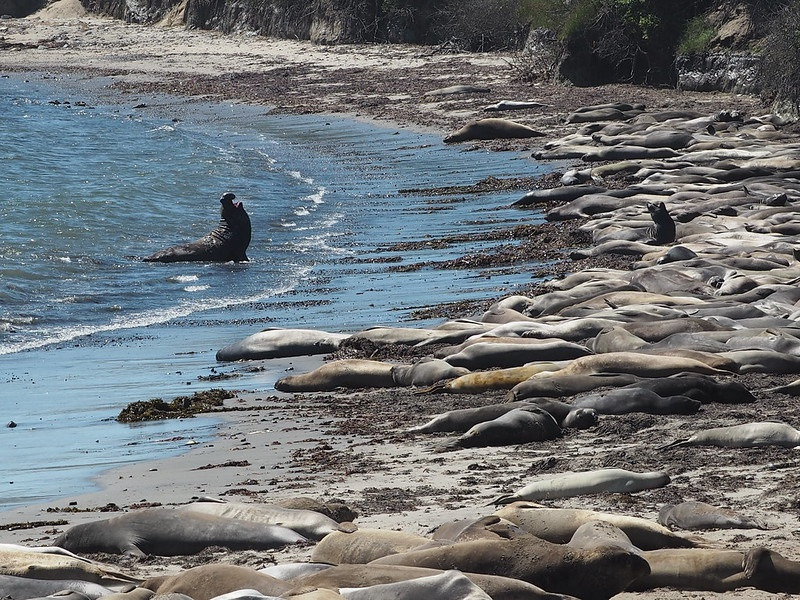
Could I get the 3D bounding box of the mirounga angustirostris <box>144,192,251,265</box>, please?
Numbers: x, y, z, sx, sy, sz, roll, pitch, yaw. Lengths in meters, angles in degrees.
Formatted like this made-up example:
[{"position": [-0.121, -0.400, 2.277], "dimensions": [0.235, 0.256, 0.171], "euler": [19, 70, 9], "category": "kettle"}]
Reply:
[{"position": [-4.775, -1.612, 50.077], "dimensions": [3.236, 1.617, 1.350], "euler": [-6, 17, 22], "category": "mirounga angustirostris"}]
